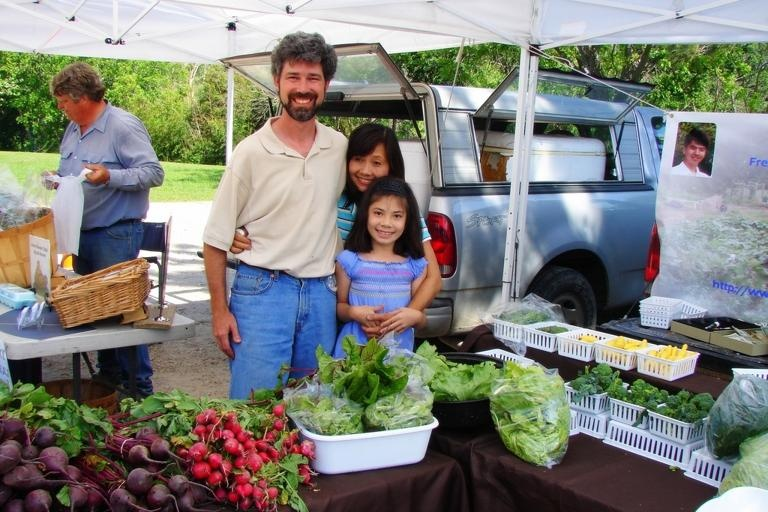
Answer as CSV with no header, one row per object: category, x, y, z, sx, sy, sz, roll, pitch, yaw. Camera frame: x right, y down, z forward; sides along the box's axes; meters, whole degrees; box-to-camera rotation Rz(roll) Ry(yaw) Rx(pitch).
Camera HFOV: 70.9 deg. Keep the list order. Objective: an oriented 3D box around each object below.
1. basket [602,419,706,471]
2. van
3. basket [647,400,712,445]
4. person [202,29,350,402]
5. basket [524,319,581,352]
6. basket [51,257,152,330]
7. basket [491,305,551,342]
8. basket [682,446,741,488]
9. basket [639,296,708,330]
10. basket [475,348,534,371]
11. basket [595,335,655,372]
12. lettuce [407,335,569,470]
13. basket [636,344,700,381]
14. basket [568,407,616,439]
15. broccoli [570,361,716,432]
basket,1.333,0.926,2.711,0.286,0.077,0.194,8,4,43
van,1.161,-0.522,5.639,4.547,1.949,2.618,-9,12,-43
basket,1.445,0.813,2.644,0.233,0.101,0.161,6,1,16
person,-0.611,-0.221,3.172,0.868,2.124,0.417,-2,12,-19
basket,1.123,0.535,3.663,0.258,0.088,0.191,-2,4,-43
basket,-1.791,0.243,3.443,0.555,0.386,0.346,-2,11,-23
basket,0.904,0.457,3.749,0.216,0.126,0.313,10,15,39
basket,1.505,0.999,2.519,0.154,0.079,0.191,3,3,-28
basket,2.033,0.395,3.872,0.365,0.125,0.240,-6,10,-41
basket,0.775,0.649,3.440,0.174,0.088,0.257,-2,3,-34
basket,1.411,0.585,3.259,0.295,0.109,0.213,0,2,-44
lettuce,0.570,0.724,2.699,0.589,0.242,0.577,4,9,-1
basket,1.668,0.608,3.177,0.288,0.098,0.206,1,1,-36
basket,1.088,0.897,2.885,0.187,0.088,0.144,3,2,40
broccoli,1.333,0.705,2.819,0.577,0.191,0.335,12,11,31
